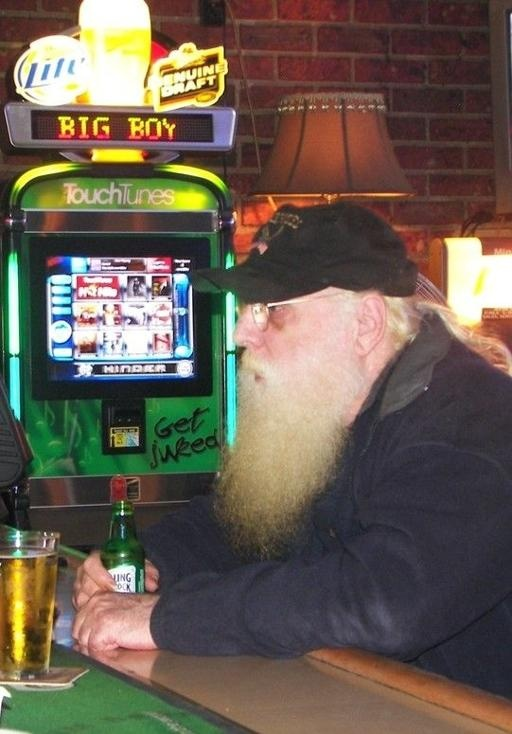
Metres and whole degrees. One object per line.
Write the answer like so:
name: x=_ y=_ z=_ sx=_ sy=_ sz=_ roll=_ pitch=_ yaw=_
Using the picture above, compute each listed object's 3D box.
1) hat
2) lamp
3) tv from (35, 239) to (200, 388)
hat: x=0.091 y=-0.161 z=1.349 sx=0.253 sy=0.148 sz=0.110 roll=4 pitch=91 yaw=4
lamp: x=0.263 y=-0.693 z=2.889 sx=0.443 sy=0.417 sz=0.328 roll=-1 pitch=92 yaw=0
tv: x=-0.471 y=-0.178 z=2.869 sx=0.543 sy=0.178 sz=0.411 roll=0 pitch=89 yaw=-10
